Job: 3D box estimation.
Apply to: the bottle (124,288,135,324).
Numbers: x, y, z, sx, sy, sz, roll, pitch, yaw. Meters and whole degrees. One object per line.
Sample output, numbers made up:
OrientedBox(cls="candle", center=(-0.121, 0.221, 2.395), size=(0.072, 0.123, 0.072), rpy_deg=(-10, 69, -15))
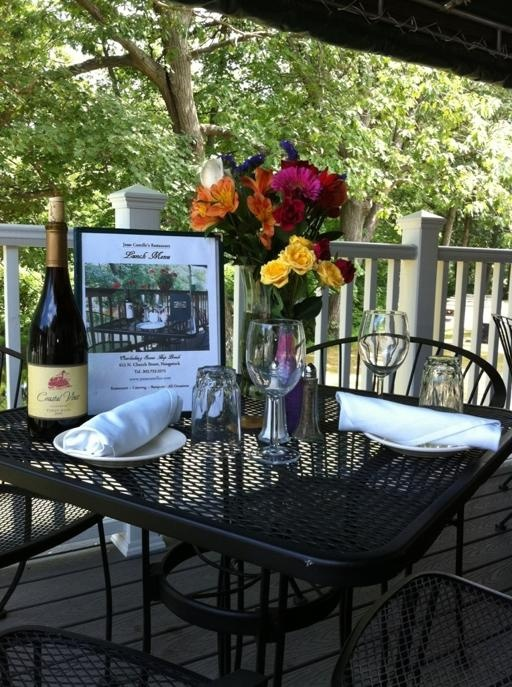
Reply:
OrientedBox(cls="bottle", center=(-0.224, -0.068, 1.028), size=(0.018, 0.054, 0.012), rpy_deg=(-5, 11, -36))

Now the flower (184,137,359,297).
OrientedBox(cls="flower", center=(0.022, -0.200, 1.047), size=(0.294, 0.267, 0.245), rpy_deg=(-11, -1, 0))
